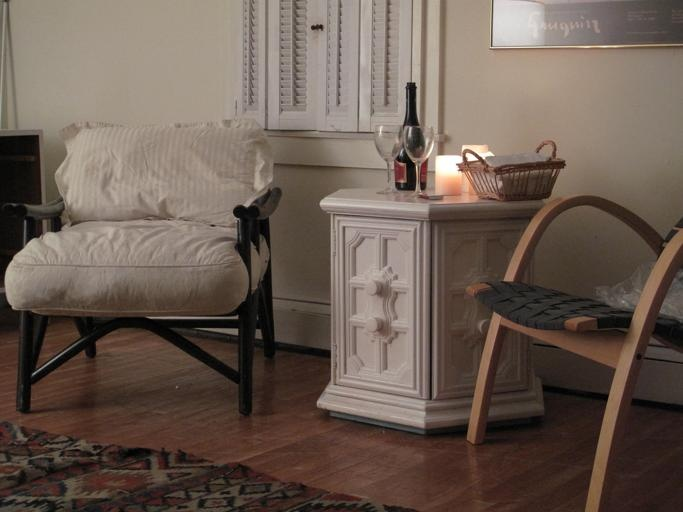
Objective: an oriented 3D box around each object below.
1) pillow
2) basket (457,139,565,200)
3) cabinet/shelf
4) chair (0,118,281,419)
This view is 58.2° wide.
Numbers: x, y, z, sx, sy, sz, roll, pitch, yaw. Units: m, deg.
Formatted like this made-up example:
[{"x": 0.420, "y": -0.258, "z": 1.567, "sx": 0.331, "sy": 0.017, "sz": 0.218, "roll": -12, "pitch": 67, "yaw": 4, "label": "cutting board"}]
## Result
[{"x": -0.763, "y": -0.372, "z": 2.683, "sx": 0.756, "sy": 0.510, "sz": 0.162, "roll": 0, "pitch": -17, "yaw": -1, "label": "pillow"}, {"x": 0.581, "y": -0.285, "z": 2.176, "sx": 0.269, "sy": 0.148, "sz": 0.258, "roll": -5, "pitch": 7, "yaw": -18, "label": "basket"}, {"x": 0.241, "y": 0.127, "z": 2.452, "sx": 0.995, "sy": 0.945, "sz": 0.743, "roll": 7, "pitch": 11, "yaw": 37, "label": "cabinet/shelf"}, {"x": -0.825, "y": -0.004, "z": 2.739, "sx": 1.082, "sy": 1.273, "sz": 1.208, "roll": 2, "pitch": 10, "yaw": 5, "label": "chair"}]
